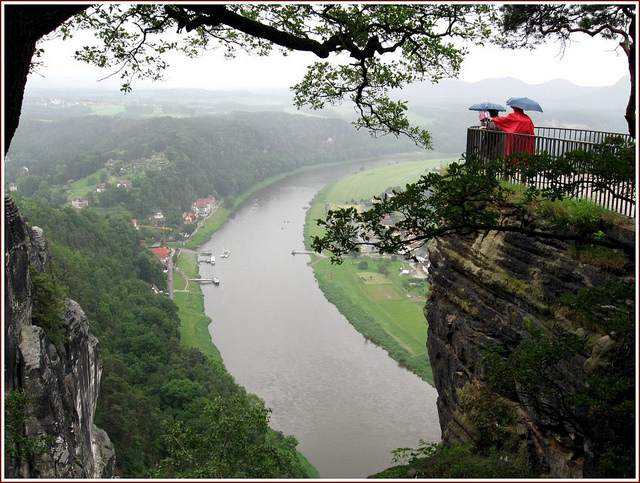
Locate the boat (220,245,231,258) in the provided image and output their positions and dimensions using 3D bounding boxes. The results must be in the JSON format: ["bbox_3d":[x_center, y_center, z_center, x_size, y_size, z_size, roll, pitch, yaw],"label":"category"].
[{"bbox_3d":[-15.593,1.695,79.783,1.294,1.623,4.208,-1,7,-5],"label":"boat"}]

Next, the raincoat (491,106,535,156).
[{"bbox_3d":[6.082,-3.469,14.918,0.836,1.492,1.452,-1,10,-25],"label":"raincoat"}]

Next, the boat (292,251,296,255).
[{"bbox_3d":[-4.263,1.785,77.539,0.441,0.408,0.101,-2,-15,-8],"label":"boat"}]
